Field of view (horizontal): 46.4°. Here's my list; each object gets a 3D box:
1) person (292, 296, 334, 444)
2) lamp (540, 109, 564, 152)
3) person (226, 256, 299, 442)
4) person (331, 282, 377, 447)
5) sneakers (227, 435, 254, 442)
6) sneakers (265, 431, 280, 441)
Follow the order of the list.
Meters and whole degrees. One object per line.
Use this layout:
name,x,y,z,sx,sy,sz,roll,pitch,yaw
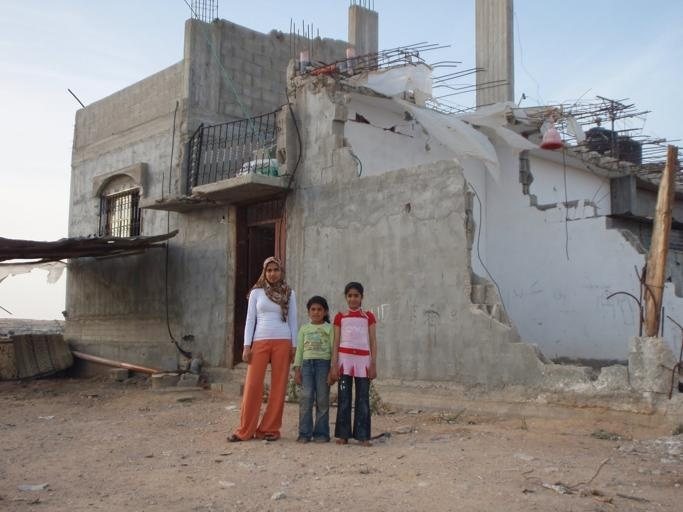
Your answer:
person,-0.348,1.460,10.341,0.524,1.853,0.364,-2,3,-3
lamp,3.804,-2.271,14.302,0.422,0.766,0.351,-5,-13,43
person,-0.992,1.212,10.424,0.856,2.352,0.423,-2,3,-6
person,0.162,1.519,10.206,0.572,1.743,0.425,-2,3,-1
sneakers,-1.317,2.361,10.328,0.280,0.087,0.116,10,-14,-15
sneakers,-0.889,2.344,10.335,0.212,0.095,0.201,-3,3,-17
